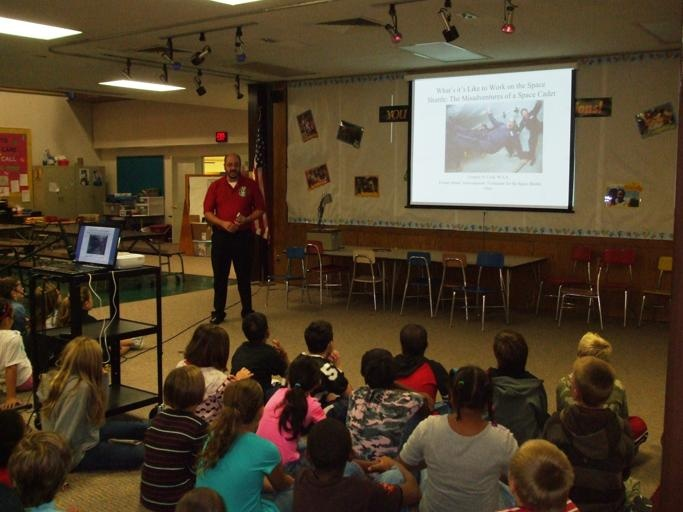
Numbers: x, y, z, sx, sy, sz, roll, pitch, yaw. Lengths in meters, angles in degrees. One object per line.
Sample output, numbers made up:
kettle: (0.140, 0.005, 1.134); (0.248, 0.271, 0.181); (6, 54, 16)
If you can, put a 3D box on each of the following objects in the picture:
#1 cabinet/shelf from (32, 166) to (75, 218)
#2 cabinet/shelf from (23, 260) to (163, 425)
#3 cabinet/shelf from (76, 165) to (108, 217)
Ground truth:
cabinet/shelf: (-7.380, -1.650, 14.453); (0.995, 1.335, 0.491); (1, 2, -26)
cabinet/shelf: (-1.951, 0.627, 4.488); (0.869, 1.114, 0.783); (3, 2, 35)
cabinet/shelf: (-6.685, -1.685, 14.995); (0.432, 1.357, 1.384); (0, 3, 8)
